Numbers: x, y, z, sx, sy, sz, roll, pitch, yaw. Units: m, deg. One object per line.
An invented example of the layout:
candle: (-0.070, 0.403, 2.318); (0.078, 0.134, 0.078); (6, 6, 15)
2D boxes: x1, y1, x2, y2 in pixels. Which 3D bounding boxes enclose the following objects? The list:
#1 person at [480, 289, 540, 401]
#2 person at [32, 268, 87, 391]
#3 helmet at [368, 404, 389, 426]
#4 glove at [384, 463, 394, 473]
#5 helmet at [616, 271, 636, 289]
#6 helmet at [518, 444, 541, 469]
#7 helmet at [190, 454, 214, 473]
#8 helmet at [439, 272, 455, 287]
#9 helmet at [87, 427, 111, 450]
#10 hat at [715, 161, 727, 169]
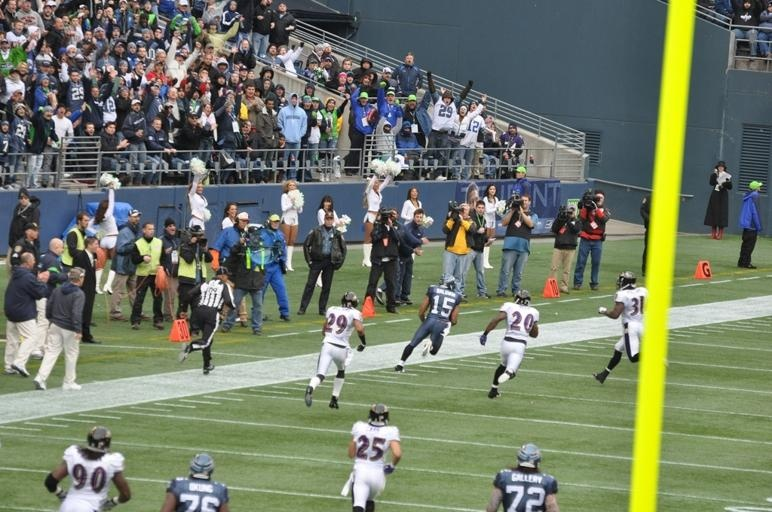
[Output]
person: (2.660, 1.941, 30.022); (1.113, 2.378, 1.341); (2, 2, 3)
person: (-6.847, 1.548, 28.852); (0.761, 2.592, 0.991); (0, 3, -38)
helmet: (-0.160, 2.820, 24.681); (0.301, 0.324, 0.394); (3, 14, -3)
glove: (0.035, 3.765, 24.613); (0.151, 0.177, 0.191); (5, -35, -21)
helmet: (5.355, 0.548, 30.743); (0.349, 0.414, 0.440); (2, 13, -25)
helmet: (2.389, 3.390, 23.464); (0.355, 0.423, 0.451); (3, -1, 3)
helmet: (-3.094, 3.431, 22.890); (0.281, 0.317, 0.350); (1, 22, -11)
helmet: (1.346, 0.550, 30.418); (0.242, 0.276, 0.308); (26, 55, 24)
helmet: (-4.892, 3.057, 23.287); (0.337, 0.367, 0.445); (14, -1, 6)
hat: (11.454, -3.100, 47.169); (0.308, 0.365, 0.416); (0, 18, 7)
